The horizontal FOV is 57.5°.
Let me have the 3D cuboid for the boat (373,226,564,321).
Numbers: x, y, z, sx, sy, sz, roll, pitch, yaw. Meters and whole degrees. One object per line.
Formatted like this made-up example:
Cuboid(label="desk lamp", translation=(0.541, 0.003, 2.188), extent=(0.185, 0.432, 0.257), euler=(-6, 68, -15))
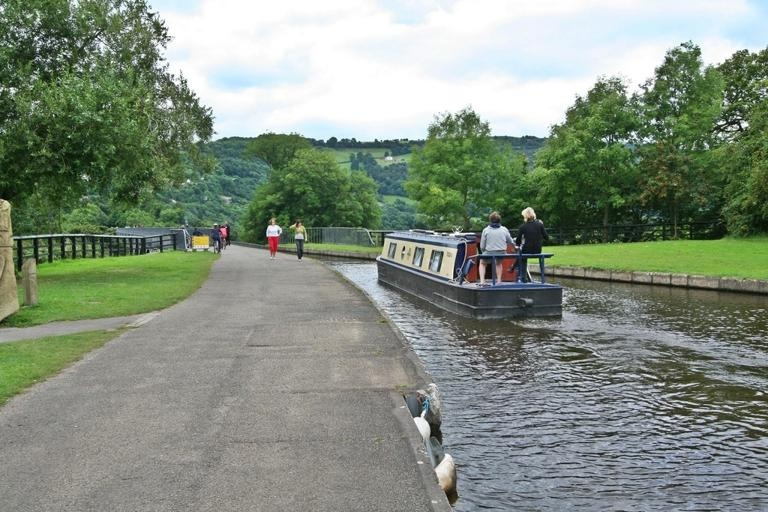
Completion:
Cuboid(label="boat", translation=(2.139, 0.387, 23.243), extent=(2.383, 1.749, 8.861), euler=(1, 3, -17))
